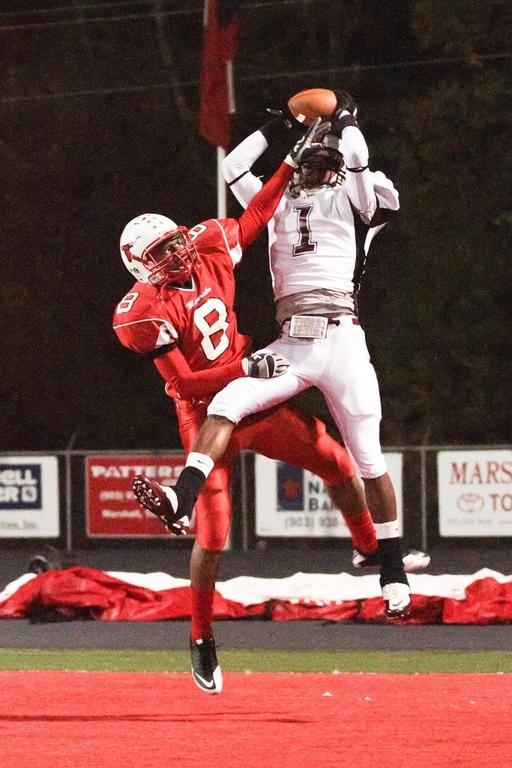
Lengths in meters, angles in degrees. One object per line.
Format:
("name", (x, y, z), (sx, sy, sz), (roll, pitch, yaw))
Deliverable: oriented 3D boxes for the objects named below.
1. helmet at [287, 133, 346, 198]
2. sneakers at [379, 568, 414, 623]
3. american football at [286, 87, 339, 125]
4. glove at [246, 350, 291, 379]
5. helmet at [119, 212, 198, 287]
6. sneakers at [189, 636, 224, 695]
("helmet", (0.179, -0.804, 3.490), (0.218, 0.191, 0.230), (12, 27, 2))
("sneakers", (0.453, 0.695, 3.221), (0.098, 0.071, 0.150), (-18, 72, 23))
("american football", (0.206, -0.988, 3.565), (0.167, 0.092, 0.197), (-10, 8, -27))
("glove", (0.021, -0.064, 3.149), (0.144, 0.046, 0.063), (-5, 57, -17))
("helmet", (-0.344, -0.475, 3.386), (0.312, 0.195, 0.211), (18, 36, 30))
("sneakers", (-0.187, 0.912, 3.263), (0.096, 0.085, 0.204), (-10, 54, -16))
